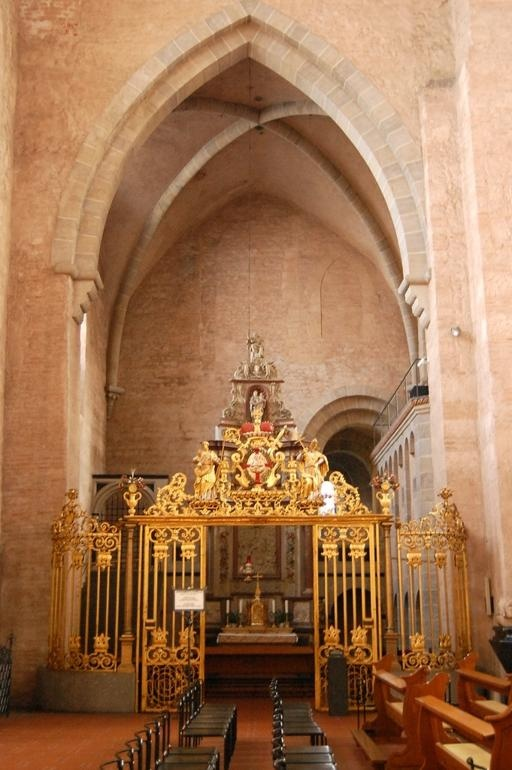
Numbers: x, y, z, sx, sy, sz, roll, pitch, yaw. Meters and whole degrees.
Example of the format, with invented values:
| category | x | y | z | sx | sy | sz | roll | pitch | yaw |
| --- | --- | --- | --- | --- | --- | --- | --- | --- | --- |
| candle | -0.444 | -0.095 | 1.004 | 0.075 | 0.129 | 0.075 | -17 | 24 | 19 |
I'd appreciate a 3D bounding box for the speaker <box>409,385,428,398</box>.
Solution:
| category | x | y | z | sx | sy | sz | roll | pitch | yaw |
| --- | --- | --- | --- | --- | --- | --- | --- | --- | --- |
| speaker | 3.011 | 0.137 | 14.710 | 0.263 | 0.176 | 0.262 | -1 | -12 | 3 |
